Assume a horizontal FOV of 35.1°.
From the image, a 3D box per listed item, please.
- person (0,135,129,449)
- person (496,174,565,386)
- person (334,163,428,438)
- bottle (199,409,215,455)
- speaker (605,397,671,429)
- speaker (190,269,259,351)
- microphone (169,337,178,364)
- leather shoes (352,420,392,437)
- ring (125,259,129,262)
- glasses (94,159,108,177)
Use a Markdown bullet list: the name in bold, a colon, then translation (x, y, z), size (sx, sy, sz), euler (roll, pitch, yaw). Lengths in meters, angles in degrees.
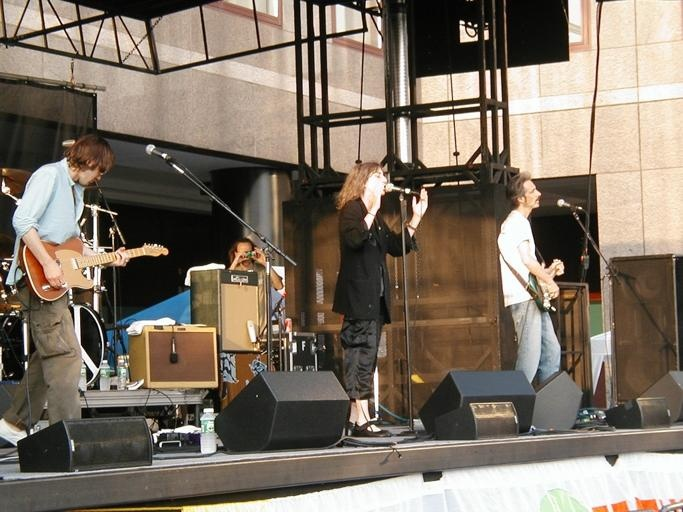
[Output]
- **person**: translation (-1.837, 0.221, 6.903), size (0.622, 1.995, 0.752), euler (4, 8, -12)
- **person**: translation (1.468, 0.182, 8.334), size (0.576, 1.597, 0.762), euler (7, 8, 10)
- **person**: translation (0.208, 0.281, 7.546), size (0.625, 1.835, 0.903), euler (6, 8, 3)
- **bottle**: translation (-0.831, 1.113, 6.784), size (0.108, 0.242, 0.253), euler (5, 8, -6)
- **speaker**: translation (2.135, 1.087, 7.764), size (0.280, 0.187, 0.270), euler (3, -6, -39)
- **speaker**: translation (-1.071, 0.521, 9.902), size (0.651, 0.735, 0.658), euler (0, -2, 10)
- **microphone**: translation (-1.459, 0.821, 9.395), size (0.072, 0.237, 0.060), euler (4, 8, -9)
- **leather shoes**: translation (0.206, 1.167, 7.302), size (0.267, 0.104, 0.106), euler (-2, -11, 11)
- **ring**: translation (-1.526, 0.030, 7.654), size (0.005, 0.018, 0.018), euler (0, -3, 29)
- **glasses**: translation (-1.572, -0.583, 7.070), size (0.079, 0.114, 0.109), euler (-4, 9, -13)
